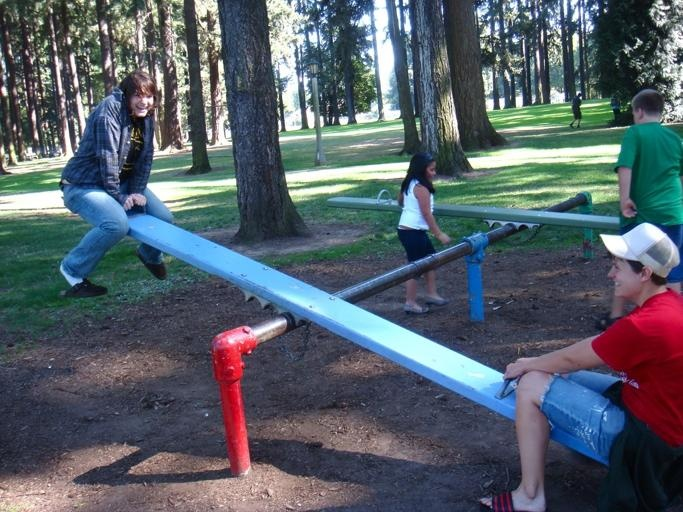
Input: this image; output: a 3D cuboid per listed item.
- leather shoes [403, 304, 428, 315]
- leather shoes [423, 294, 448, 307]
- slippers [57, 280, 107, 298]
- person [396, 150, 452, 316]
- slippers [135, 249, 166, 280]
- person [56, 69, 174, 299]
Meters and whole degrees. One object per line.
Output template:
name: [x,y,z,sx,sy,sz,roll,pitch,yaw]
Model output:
leather shoes: [0.841,0.598,7.751,0.217,0.085,0.120,0,7,18]
leather shoes: [1.094,0.522,7.940,0.234,0.090,0.108,-1,7,12]
slippers: [-2.407,0.335,6.488,0.508,0.215,0.178,-3,5,3]
person: [0.907,-0.252,7.718,0.555,1.768,1.038,-5,12,6]
slippers: [-2.203,0.110,7.924,0.175,0.406,0.137,-28,24,22]
person: [-2.203,-0.666,6.528,1.129,2.019,0.712,-12,13,-23]
